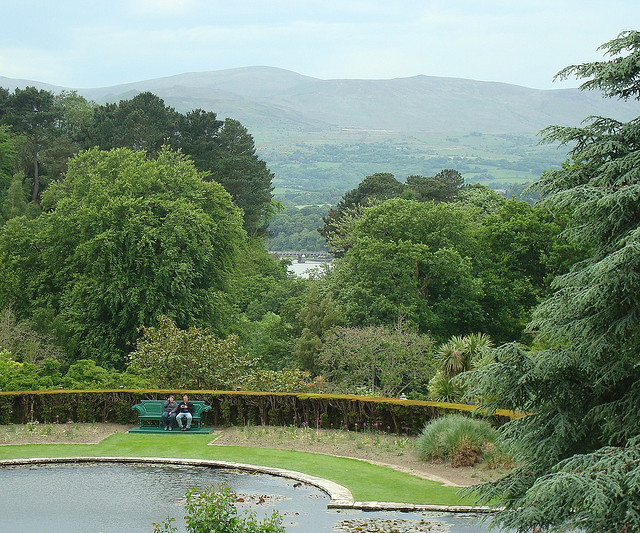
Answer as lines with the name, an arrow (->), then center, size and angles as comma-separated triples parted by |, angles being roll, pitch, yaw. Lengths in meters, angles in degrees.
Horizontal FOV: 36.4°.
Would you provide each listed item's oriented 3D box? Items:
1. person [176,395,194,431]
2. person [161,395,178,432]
person -> -4.183, 4.488, 30.338 | 0.526, 1.073, 0.546 | 0, 9, 15
person -> -4.665, 4.501, 30.328 | 0.504, 1.080, 0.593 | -3, 8, -5
